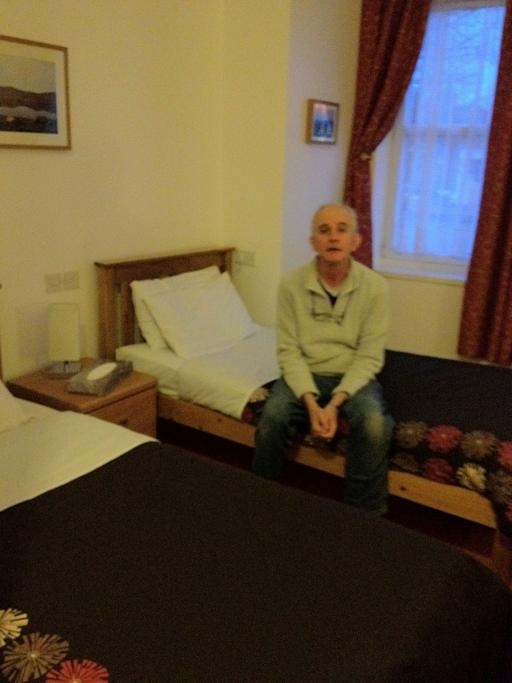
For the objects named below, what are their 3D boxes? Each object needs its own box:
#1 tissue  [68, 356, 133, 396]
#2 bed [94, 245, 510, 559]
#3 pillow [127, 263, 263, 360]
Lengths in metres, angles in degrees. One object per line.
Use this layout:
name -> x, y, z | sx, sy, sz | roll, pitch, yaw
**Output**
tissue  -> -0.676, 0.156, 2.230 | 0.117, 0.041, 0.204 | 5, 19, 9
bed -> 0.475, -0.103, 3.146 | 2.367, 1.116, 1.416 | 12, 20, 31
pillow -> -0.323, -0.174, 2.742 | 0.530, 0.504, 0.157 | -8, -23, -38
